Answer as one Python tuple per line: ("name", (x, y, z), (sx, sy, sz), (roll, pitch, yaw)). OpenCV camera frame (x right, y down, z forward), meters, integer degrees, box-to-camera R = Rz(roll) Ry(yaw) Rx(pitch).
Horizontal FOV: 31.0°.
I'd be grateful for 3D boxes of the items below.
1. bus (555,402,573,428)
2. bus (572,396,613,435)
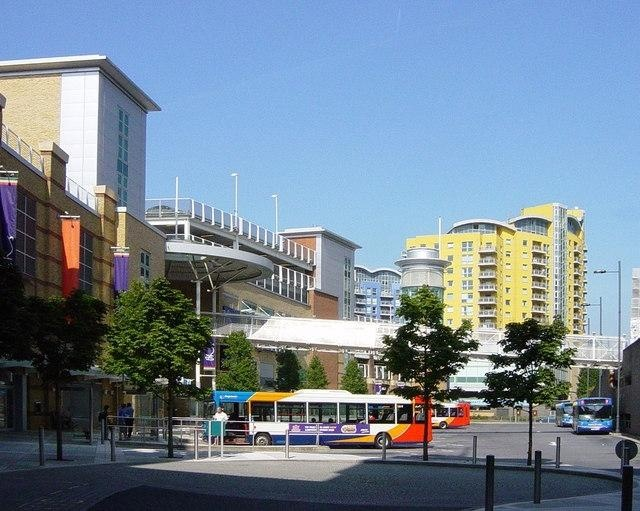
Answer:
("bus", (22.807, 14.792, 107.807), (1.083, 2.468, 7.444), (-1, -10, 9))
("bus", (20.491, 11.872, 86.548), (2.498, 2.714, 2.587), (0, -11, 4))
